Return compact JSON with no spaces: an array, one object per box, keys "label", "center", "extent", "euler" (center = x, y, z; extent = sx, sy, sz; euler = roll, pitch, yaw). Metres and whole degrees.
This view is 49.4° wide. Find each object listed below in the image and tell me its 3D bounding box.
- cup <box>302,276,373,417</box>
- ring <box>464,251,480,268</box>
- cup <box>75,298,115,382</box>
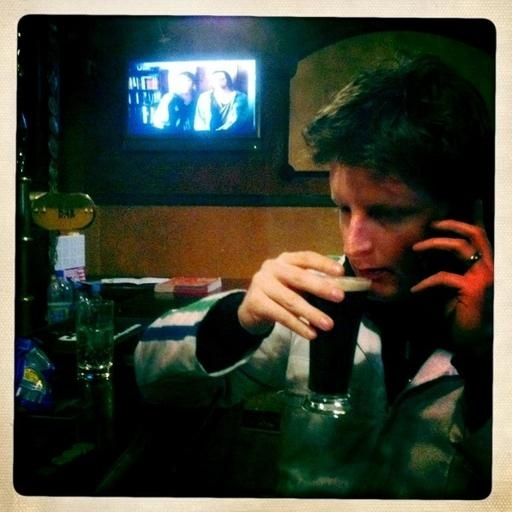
[{"label":"cup","center":[0.178,0.211,1.258],"extent":[0.144,0.339,0.173],"euler":[-1,5,-3]},{"label":"ring","center":[0.563,0.009,1.446],"extent":[0.039,0.028,0.038],"euler":[-25,-12,-6]},{"label":"cup","center":[-0.432,0.207,1.487],"extent":[0.100,0.187,0.232],"euler":[-2,5,-16]}]
